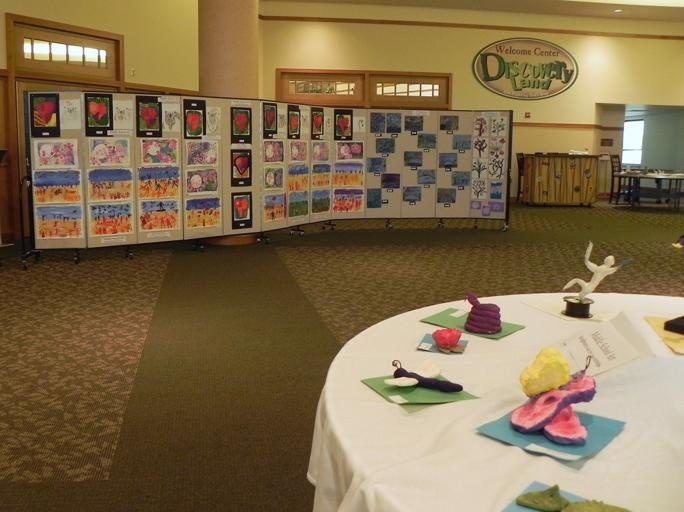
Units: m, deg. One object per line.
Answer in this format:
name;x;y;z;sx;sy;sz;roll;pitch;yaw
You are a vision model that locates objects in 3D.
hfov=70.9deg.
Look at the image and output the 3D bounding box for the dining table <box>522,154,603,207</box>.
dining table;5.672;-2.025;12.747;2.309;1.581;1.224;0;9;2
